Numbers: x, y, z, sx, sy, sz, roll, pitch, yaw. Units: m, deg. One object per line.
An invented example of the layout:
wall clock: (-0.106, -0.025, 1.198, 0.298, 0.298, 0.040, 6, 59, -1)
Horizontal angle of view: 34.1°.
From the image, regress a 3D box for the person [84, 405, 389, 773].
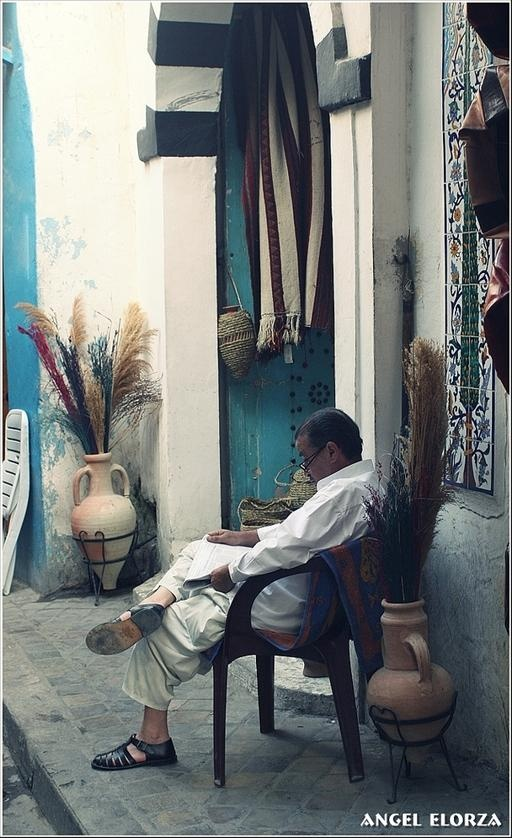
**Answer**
person: (-0.052, 0.722, 3.369, 1.127, 1.957, 0.715, 0, -11, 8)

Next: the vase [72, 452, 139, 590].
vase: (-0.894, 0.620, 4.992, 0.318, 0.836, 0.386, -5, 3, -4)

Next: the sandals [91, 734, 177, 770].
sandals: (-0.400, 1.124, 2.822, 0.214, 0.128, 0.124, 4, -15, -4)

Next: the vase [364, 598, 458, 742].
vase: (0.437, 0.741, 2.436, 0.265, 0.512, 0.329, -4, -14, 14)

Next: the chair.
chair: (0.136, 0.775, 2.779, 0.436, 0.822, 0.536, 1, 0, 14)

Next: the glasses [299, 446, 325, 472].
glasses: (0.195, 0.126, 2.869, 0.021, 0.086, 0.081, 33, -15, 0)
